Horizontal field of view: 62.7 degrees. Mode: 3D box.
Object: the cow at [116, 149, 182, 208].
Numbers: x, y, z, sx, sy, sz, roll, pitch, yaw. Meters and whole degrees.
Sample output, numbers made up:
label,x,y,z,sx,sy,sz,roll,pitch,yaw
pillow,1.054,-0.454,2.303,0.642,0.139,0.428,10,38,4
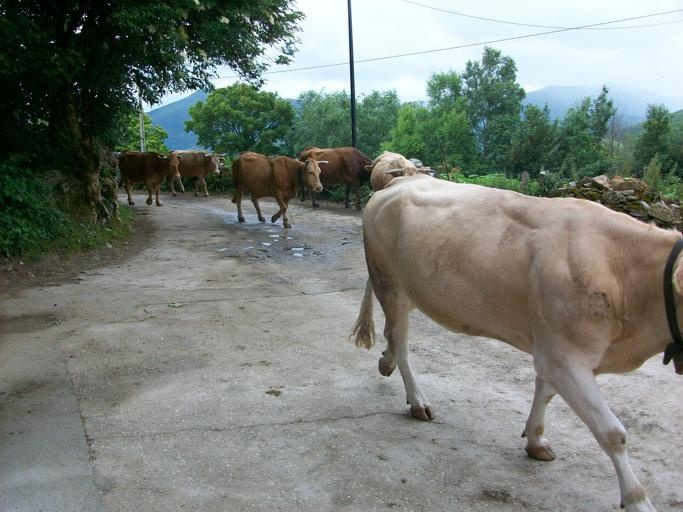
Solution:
label,x,y,z,sx,sy,sz,roll,pitch,yaw
cow,-6.782,-2.714,19.355,1.791,1.770,2.964,-5,13,-25
